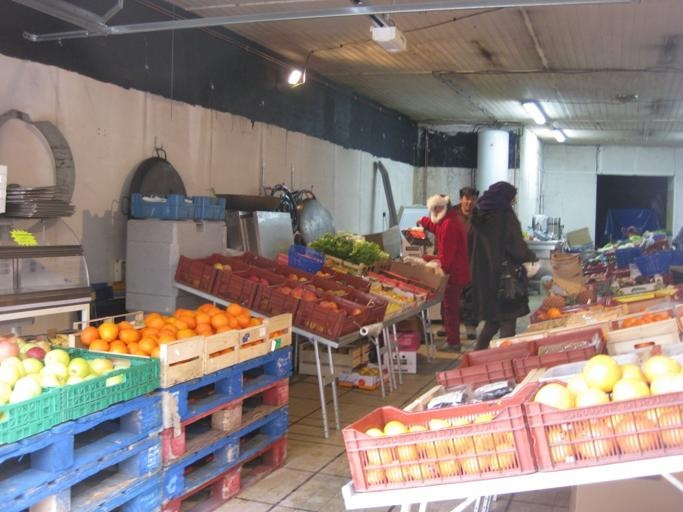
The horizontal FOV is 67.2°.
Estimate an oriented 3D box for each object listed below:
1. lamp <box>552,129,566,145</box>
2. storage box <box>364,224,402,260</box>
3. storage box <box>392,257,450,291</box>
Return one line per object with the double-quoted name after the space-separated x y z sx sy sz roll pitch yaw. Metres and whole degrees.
5.993 -3.338 14.314 0.422 0.121 0.465 -5 -6 32 "lamp"
0.814 -0.249 9.006 0.552 0.519 0.612 -18 0 32 "storage box"
1.021 0.169 6.645 0.561 0.221 0.367 30 0 23 "storage box"
